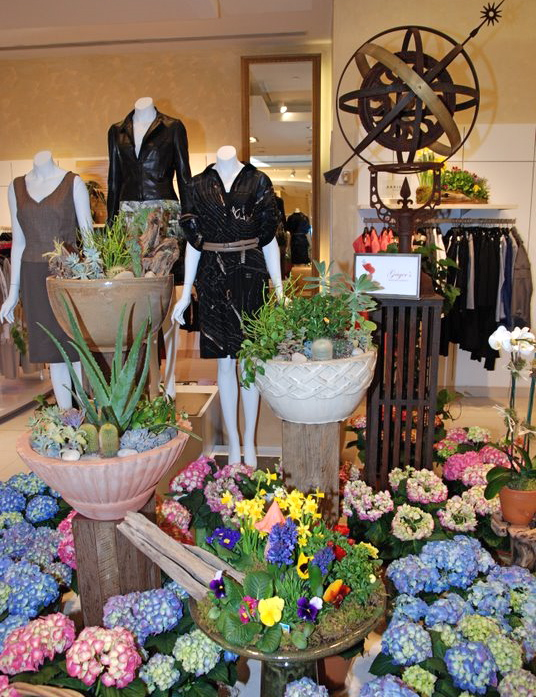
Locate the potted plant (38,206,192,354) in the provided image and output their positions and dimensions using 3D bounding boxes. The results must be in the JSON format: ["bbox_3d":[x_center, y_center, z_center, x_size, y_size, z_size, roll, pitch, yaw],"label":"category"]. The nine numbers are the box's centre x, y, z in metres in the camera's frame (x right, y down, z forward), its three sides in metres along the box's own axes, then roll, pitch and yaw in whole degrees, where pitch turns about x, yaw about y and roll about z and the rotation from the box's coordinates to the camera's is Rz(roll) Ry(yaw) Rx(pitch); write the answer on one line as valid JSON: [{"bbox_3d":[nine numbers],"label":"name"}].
[{"bbox_3d":[-0.482,-0.179,1.561,0.368,0.365,0.309,-17,13,-40],"label":"potted plant"}]

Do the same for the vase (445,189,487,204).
[{"bbox_3d":[1.546,-1.177,4.141,0.432,0.095,0.080,-7,13,-24],"label":"vase"}]

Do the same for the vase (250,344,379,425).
[{"bbox_3d":[0.124,0.106,1.416,0.293,0.163,0.288,-2,5,13],"label":"vase"}]

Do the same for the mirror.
[{"bbox_3d":[0.117,-1.971,5.354,0.895,2.717,0.155,2,-23,3],"label":"mirror"}]

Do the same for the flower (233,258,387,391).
[{"bbox_3d":[0.134,-0.065,1.507,0.376,0.197,0.386,-1,12,9],"label":"flower"}]

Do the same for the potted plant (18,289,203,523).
[{"bbox_3d":[-0.349,0.131,1.191,0.398,0.451,0.416,2,11,4],"label":"potted plant"}]
